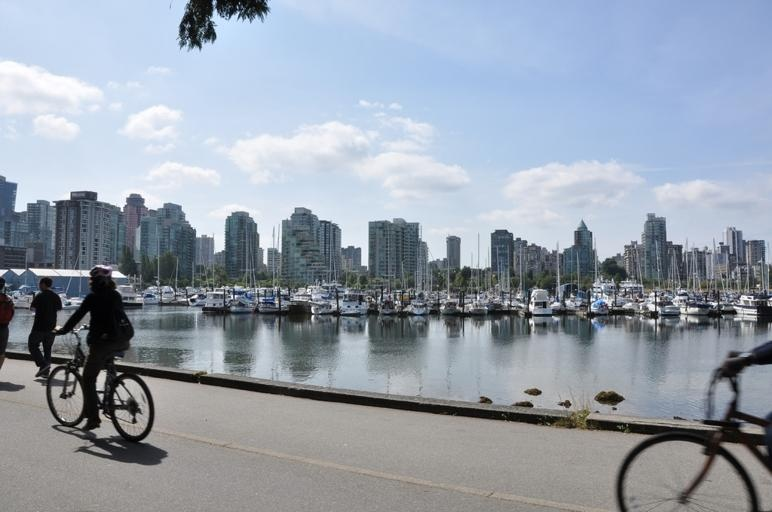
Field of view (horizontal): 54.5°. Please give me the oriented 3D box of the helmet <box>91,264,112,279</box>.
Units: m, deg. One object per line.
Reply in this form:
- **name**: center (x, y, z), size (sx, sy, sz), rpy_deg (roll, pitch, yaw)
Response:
- **helmet**: center (-5.670, 0.298, 14.762), size (0.352, 0.131, 0.258), rpy_deg (-13, -12, 43)

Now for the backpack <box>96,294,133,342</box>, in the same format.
- **backpack**: center (-5.256, 1.230, 14.661), size (0.374, 1.022, 0.527), rpy_deg (-2, -3, 36)

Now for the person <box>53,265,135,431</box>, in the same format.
- **person**: center (-5.652, 1.837, 14.685), size (1.212, 3.277, 0.756), rpy_deg (-1, -3, 24)
